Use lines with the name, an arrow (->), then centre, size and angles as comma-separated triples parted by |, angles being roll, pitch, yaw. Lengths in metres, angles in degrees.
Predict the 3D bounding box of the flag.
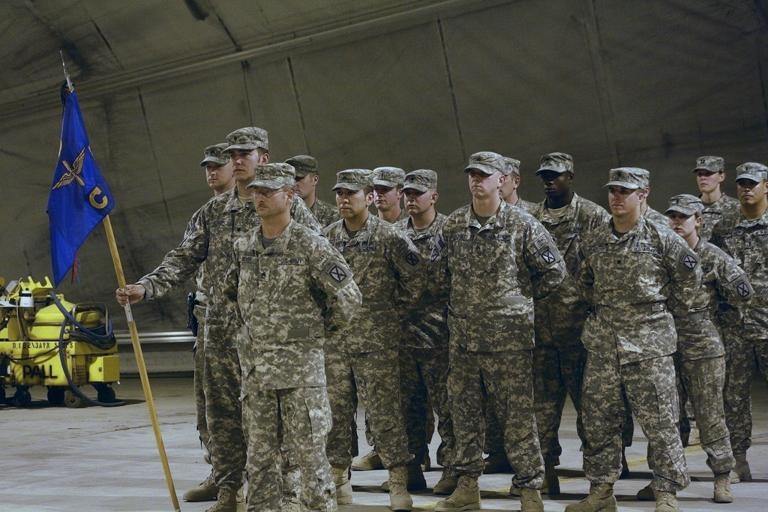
flag -> -3.477, -0.835, 18.740 | 0.705, 2.380, 0.531 | -1, -11, -14

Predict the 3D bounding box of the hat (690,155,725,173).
hat -> 4.342, -1.240, 21.704 | 0.433, 0.152, 0.295 | 5, -5, -23

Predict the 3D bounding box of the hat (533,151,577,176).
hat -> 2.083, -1.131, 20.038 | 0.469, 0.175, 0.314 | 4, -7, -21
